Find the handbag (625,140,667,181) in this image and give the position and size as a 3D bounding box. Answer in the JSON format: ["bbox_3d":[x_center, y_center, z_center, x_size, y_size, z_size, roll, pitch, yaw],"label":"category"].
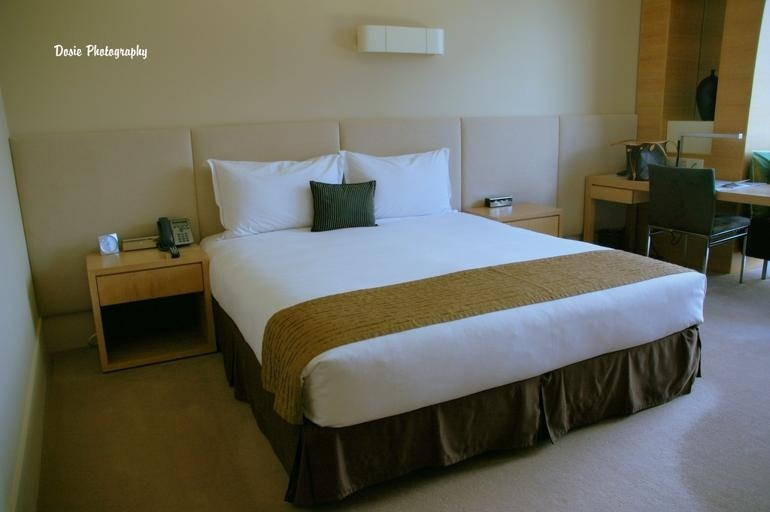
[{"bbox_3d":[2.568,-0.933,5.582,0.461,0.449,0.350,-1,6,23],"label":"handbag"}]

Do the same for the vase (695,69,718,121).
[{"bbox_3d":[3.327,-1.663,5.788,0.185,0.497,0.525,6,19,28],"label":"vase"}]

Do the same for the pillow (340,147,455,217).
[{"bbox_3d":[0.075,-0.627,4.829,0.625,0.423,0.164,-3,-11,-28],"label":"pillow"}]

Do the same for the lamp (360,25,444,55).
[{"bbox_3d":[0.148,-1.938,5.003,0.827,0.246,0.092,-11,18,-22],"label":"lamp"}]

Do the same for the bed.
[{"bbox_3d":[0.199,0.448,3.739,2.032,0.596,2.033,-8,16,-30],"label":"bed"}]

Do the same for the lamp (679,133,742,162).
[{"bbox_3d":[3.209,-1.071,5.515,0.541,0.326,0.550,8,20,32],"label":"lamp"}]
